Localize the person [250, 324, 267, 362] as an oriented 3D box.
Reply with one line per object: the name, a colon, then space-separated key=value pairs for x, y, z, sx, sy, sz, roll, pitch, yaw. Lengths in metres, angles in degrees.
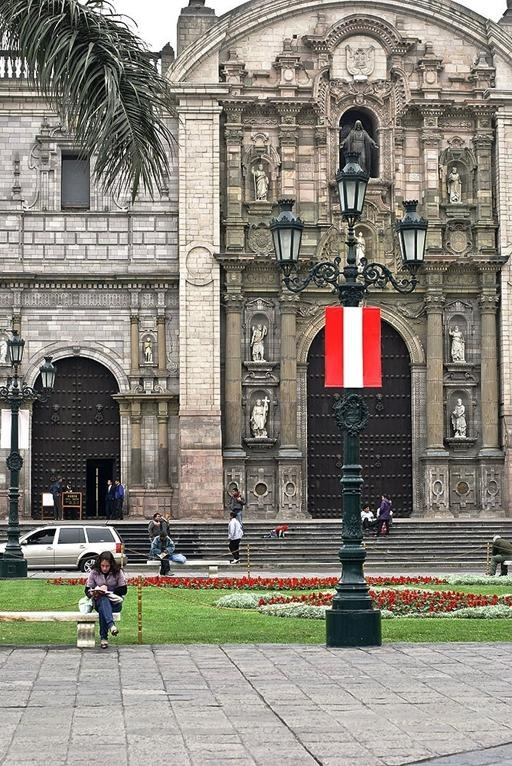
person: x=0.054 y=-1.196 z=48.072 sx=0.497 sy=1.116 sz=0.397 roll=0 pitch=-5 yaw=-2

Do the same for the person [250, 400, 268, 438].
person: x=0.096 y=1.017 z=47.551 sx=0.577 sy=1.255 sz=0.609 roll=0 pitch=-5 yaw=-1

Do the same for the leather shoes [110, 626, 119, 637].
leather shoes: x=-1.842 y=3.225 z=21.152 sx=0.087 sy=0.132 sz=0.304 roll=0 pitch=-21 yaw=-8

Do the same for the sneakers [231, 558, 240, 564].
sneakers: x=-0.524 y=4.178 z=37.939 sx=0.228 sy=0.111 sz=0.080 roll=-2 pitch=-8 yaw=39

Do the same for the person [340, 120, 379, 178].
person: x=3.060 y=-7.010 z=48.450 sx=0.916 sy=1.846 sz=0.480 roll=-1 pitch=-24 yaw=1

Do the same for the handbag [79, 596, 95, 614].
handbag: x=-2.203 y=2.899 z=21.130 sx=0.146 sy=0.233 sz=0.089 roll=-2 pitch=-15 yaw=32

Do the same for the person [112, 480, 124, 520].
person: x=-3.936 y=3.333 z=46.264 sx=0.253 sy=1.104 sz=0.632 roll=0 pitch=-5 yaw=-12

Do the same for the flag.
flag: x=1.318 y=-0.519 z=22.258 sx=0.774 sy=0.148 sz=1.355 roll=0 pitch=-53 yaw=4

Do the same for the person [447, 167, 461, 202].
person: x=6.024 y=-6.017 z=49.399 sx=0.400 sy=1.241 sz=0.610 roll=-3 pitch=-6 yaw=31

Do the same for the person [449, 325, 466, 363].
person: x=6.050 y=-1.147 z=48.680 sx=0.498 sy=1.199 sz=0.554 roll=0 pitch=-5 yaw=-11

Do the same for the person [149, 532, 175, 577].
person: x=-2.035 y=3.716 z=35.258 sx=0.454 sy=0.906 sz=1.763 roll=0 pitch=-6 yaw=-4

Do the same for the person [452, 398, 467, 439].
person: x=5.981 y=1.074 z=48.170 sx=0.446 sy=1.278 sz=0.721 roll=-1 pitch=-5 yaw=8

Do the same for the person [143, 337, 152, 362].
person: x=-3.199 y=-0.982 z=47.918 sx=0.331 sy=0.896 sz=0.305 roll=0 pitch=-5 yaw=-5
